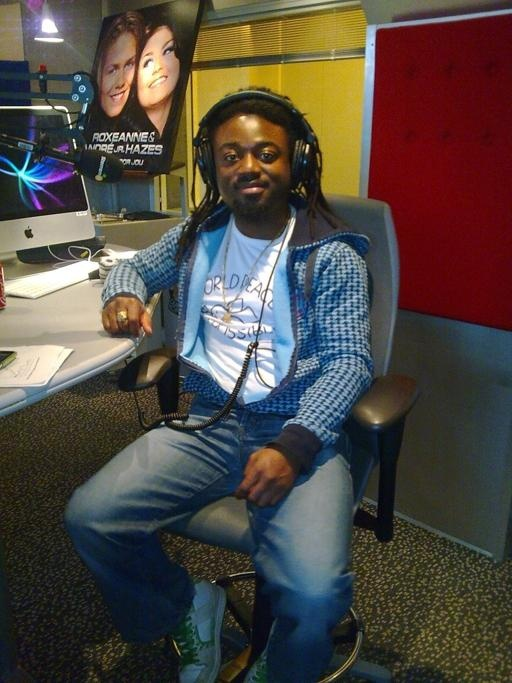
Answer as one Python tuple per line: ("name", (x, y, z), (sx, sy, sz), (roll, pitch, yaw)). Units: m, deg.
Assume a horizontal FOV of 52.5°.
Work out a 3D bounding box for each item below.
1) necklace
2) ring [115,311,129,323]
("necklace", (-0.013, -0.163, 1.308), (0.160, 0.276, 0.066), (5, 3, 21))
("ring", (-0.328, -0.058, 1.265), (0.021, 0.008, 0.026), (-1, 39, -7))
